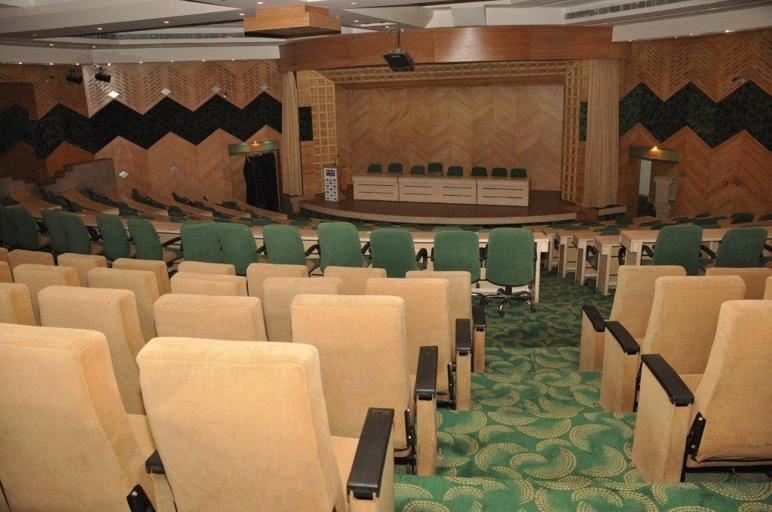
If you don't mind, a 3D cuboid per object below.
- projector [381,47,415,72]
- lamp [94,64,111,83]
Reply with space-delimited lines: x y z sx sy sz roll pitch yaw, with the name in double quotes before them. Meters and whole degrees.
"projector" 0.223 -3.281 9.071 0.445 0.328 0.608 2 8 9
"lamp" -7.164 -4.593 13.770 0.403 0.482 1.118 -3 8 -26
